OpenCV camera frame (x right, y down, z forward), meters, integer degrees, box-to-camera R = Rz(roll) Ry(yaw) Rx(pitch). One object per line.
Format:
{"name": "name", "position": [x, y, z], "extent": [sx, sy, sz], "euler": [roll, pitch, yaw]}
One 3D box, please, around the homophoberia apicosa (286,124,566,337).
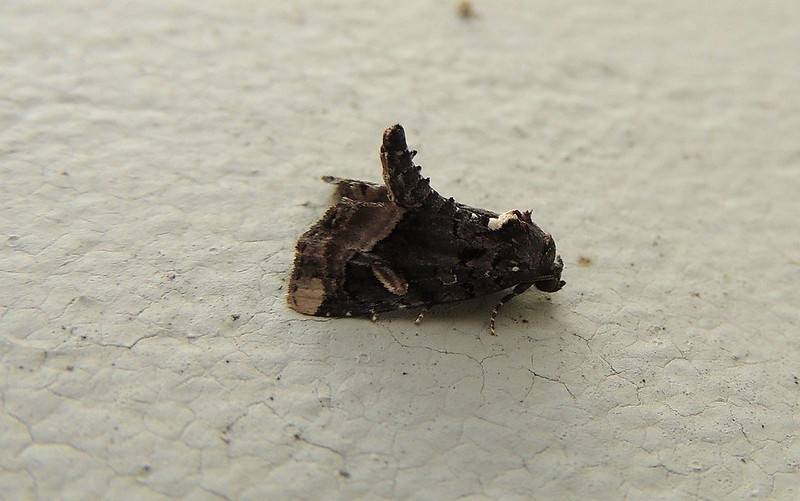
{"name": "homophoberia apicosa", "position": [0.153, -0.007, 8.509], "extent": [2.766, 1.218, 1.987], "euler": [12, 65, -11]}
